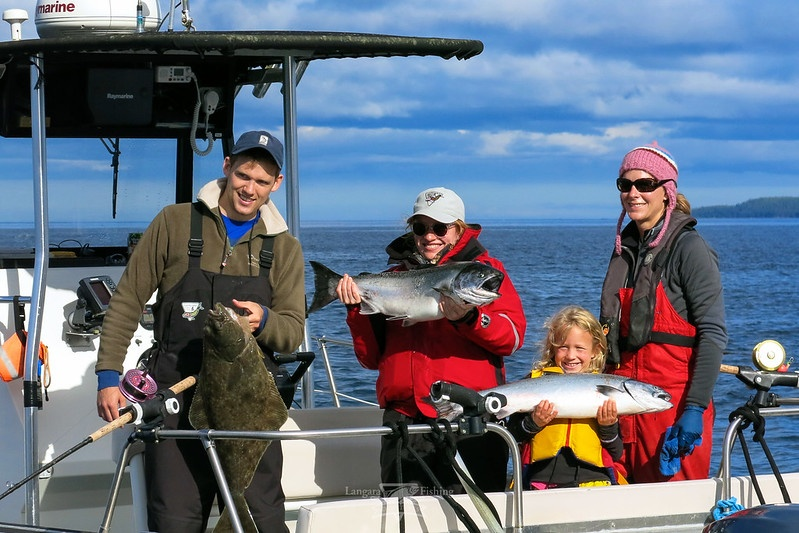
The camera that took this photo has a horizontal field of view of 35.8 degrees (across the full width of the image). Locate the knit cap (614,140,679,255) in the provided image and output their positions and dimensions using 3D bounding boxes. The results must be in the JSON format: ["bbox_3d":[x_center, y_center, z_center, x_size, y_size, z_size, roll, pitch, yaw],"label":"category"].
[{"bbox_3d":[1.742,-0.518,8.689,0.392,0.780,0.432,2,-5,43],"label":"knit cap"}]

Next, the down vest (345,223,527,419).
[{"bbox_3d":[0.298,0.375,8.469,1.336,1.300,0.880,-8,-6,32],"label":"down vest"}]

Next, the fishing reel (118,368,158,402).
[{"bbox_3d":[-1.635,0.754,7.748,0.228,0.132,0.221,-6,38,-46],"label":"fishing reel"}]

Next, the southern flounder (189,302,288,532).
[{"bbox_3d":[-1.054,0.919,8.007,0.761,1.392,0.598,5,0,17],"label":"southern flounder"}]

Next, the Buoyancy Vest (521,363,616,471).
[{"bbox_3d":[1.129,1.015,8.505,0.498,0.718,0.788,0,0,3],"label":"Buoyancy Vest"}]

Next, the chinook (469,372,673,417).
[{"bbox_3d":[1.077,0.843,8.078,1.466,0.307,0.329,4,-26,-24],"label":"chinook"}]

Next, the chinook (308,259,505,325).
[{"bbox_3d":[0.119,0.119,8.239,1.584,0.595,0.473,2,-5,11],"label":"chinook"}]

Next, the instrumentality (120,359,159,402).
[{"bbox_3d":[-1.668,0.746,7.853,0.186,0.104,0.271,17,30,-13],"label":"instrumentality"}]
